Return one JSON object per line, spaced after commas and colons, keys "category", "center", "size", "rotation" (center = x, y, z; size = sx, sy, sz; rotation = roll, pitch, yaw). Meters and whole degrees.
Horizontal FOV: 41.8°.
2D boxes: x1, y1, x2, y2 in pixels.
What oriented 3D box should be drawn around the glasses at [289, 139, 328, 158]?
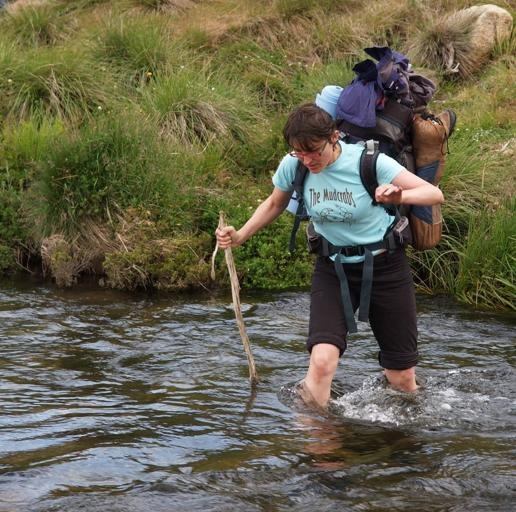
{"category": "glasses", "center": [0.305, -0.592, 3.803], "size": [0.123, 0.030, 0.120], "rotation": [8, 28, 42]}
